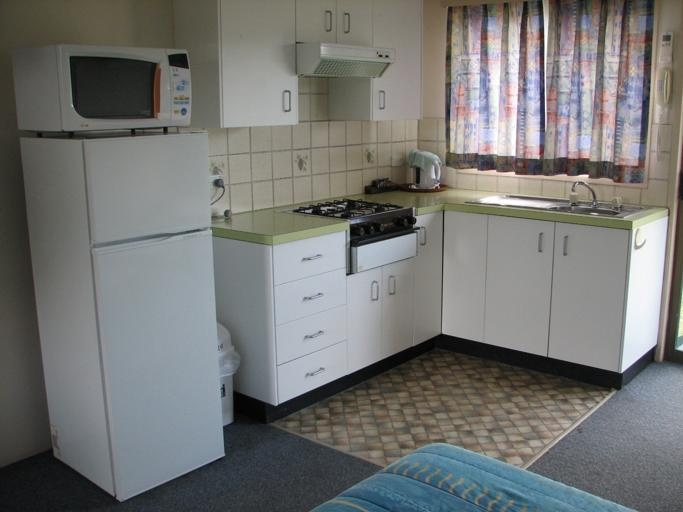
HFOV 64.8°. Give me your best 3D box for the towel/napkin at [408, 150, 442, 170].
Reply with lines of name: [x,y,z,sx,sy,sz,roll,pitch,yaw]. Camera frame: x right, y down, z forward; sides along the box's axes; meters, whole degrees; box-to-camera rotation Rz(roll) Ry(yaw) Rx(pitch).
towel/napkin: [0.691,-0.811,4.557,0.151,0.100,0.226,-11,15,-43]

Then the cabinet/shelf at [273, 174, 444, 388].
cabinet/shelf: [0.283,-0.027,4.335,1.085,1.619,1.385,7,15,38]

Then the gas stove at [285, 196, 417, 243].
gas stove: [0.107,-0.297,3.794,0.481,0.177,0.451,12,20,38]

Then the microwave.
microwave: [-1.128,-0.793,2.571,0.810,0.371,0.357,-8,17,-22]

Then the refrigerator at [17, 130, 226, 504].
refrigerator: [-1.060,0.302,2.703,0.923,1.760,0.545,-6,16,-13]

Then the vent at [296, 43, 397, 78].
vent: [0.033,-1.343,3.712,0.299,0.228,0.782,11,20,38]

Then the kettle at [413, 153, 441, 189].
kettle: [0.773,-0.763,4.668,0.267,0.358,0.326,1,12,14]

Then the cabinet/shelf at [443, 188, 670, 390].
cabinet/shelf: [1.522,0.122,4.189,1.944,1.541,1.126,8,15,36]
